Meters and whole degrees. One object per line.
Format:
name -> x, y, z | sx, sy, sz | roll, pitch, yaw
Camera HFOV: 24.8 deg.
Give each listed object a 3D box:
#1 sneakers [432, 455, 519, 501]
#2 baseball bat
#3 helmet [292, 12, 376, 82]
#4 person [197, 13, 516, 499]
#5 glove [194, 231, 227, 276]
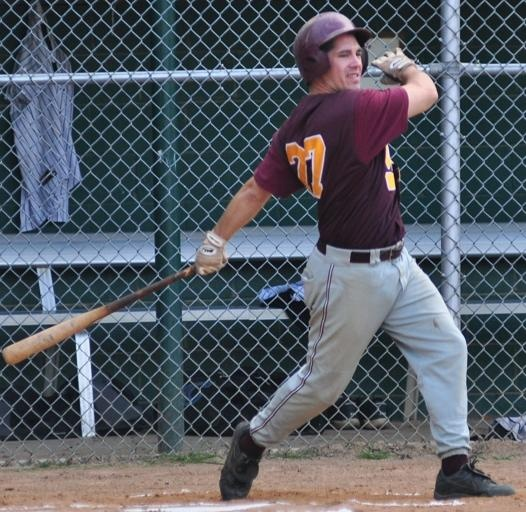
sneakers -> 1.138, 1.174, 6.257 | 0.487, 0.211, 0.155 | -1, -4, 2
baseball bat -> -1.049, 0.368, 8.058 | 1.484, 0.142, 0.183 | -25, 21, -9
helmet -> 0.300, -1.051, 6.178 | 0.398, 0.310, 0.314 | -20, -18, 41
person -> 0.480, 0.138, 6.211 | 1.477, 2.296, 0.338 | 2, 6, 9
glove -> -0.281, -0.012, 6.375 | 0.186, 0.215, 0.089 | 18, 9, -8
